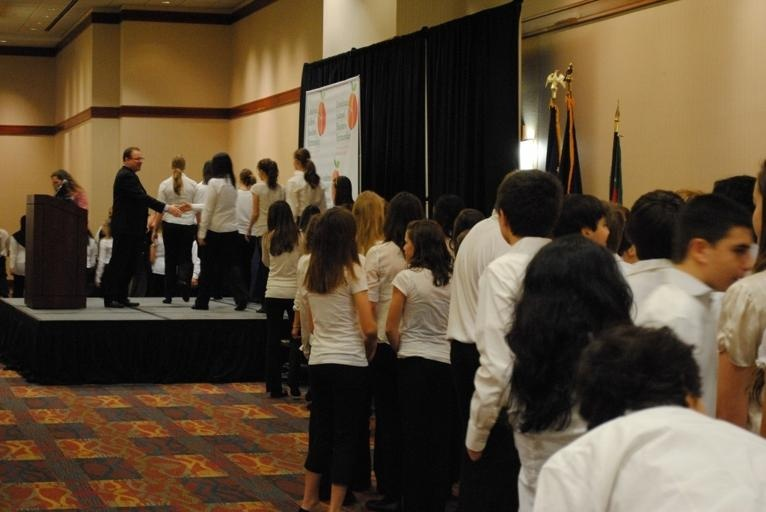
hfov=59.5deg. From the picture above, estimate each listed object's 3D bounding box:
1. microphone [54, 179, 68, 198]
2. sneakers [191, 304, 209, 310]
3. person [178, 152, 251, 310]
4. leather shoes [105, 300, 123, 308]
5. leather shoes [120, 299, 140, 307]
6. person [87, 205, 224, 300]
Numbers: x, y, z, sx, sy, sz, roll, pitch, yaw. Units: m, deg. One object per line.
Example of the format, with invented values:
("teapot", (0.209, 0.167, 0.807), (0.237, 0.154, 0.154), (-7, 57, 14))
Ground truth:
("microphone", (-4.008, -0.841, 8.360), (0.141, 0.227, 0.280), (1, 2, -27))
("sneakers", (-2.337, 0.631, 8.476), (0.219, 0.098, 0.075), (5, 1, 41))
("person", (-2.044, -0.314, 8.473), (0.647, 1.981, 0.374), (1, 2, -19))
("leather shoes", (-3.364, 0.600, 8.342), (0.250, 0.112, 0.095), (1, -3, -8))
("leather shoes", (-3.246, 0.605, 8.575), (0.274, 0.125, 0.094), (-1, 0, -17))
("person", (-3.042, -0.024, 9.157), (1.200, 1.598, 0.504), (5, 17, -8))
